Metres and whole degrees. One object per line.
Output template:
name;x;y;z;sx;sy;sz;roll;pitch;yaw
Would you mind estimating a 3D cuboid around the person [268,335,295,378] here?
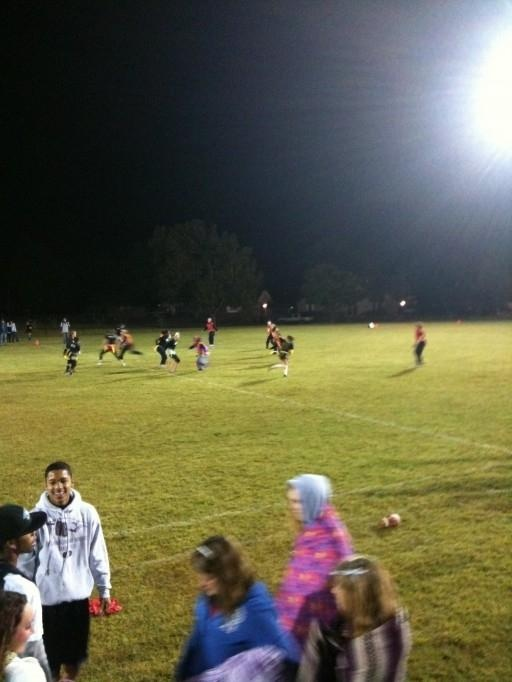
person;1.052;0.684;23.983;0.947;1.083;2.572;7;15;6
